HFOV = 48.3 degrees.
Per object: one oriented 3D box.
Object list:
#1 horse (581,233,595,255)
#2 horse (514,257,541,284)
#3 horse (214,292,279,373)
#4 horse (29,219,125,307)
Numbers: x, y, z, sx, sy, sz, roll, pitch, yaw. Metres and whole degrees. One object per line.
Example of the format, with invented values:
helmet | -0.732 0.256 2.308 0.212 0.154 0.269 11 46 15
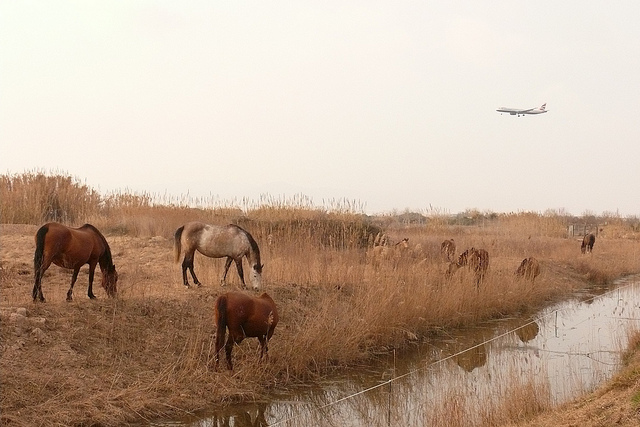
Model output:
horse | 12.840 1.487 34.522 0.531 1.140 2.230 1 8 20
horse | 7.002 1.913 24.265 0.588 0.671 1.226 2 9 26
horse | -1.552 2.615 16.376 0.693 1.942 2.691 -3 -6 31
horse | -6.265 1.121 18.445 2.267 2.239 3.322 -4 8 -17
